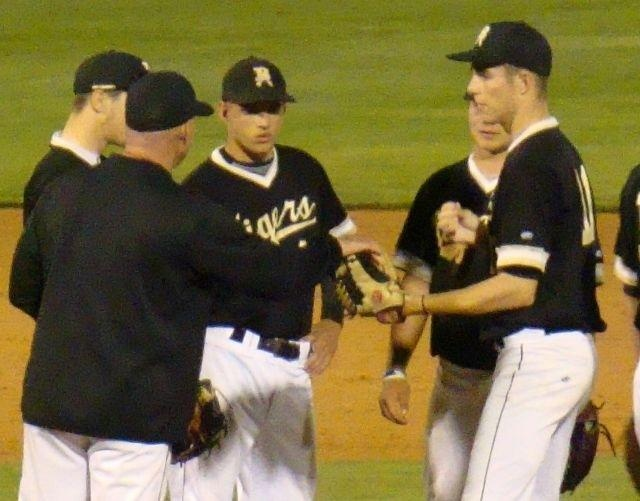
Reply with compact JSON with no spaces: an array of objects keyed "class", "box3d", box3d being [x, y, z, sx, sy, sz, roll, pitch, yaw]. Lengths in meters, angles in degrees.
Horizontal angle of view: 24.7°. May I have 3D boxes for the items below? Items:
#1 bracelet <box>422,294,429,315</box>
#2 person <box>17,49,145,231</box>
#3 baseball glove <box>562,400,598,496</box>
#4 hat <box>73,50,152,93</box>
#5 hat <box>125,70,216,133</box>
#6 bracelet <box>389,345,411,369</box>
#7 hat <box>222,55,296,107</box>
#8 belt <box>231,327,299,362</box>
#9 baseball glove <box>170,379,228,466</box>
[{"class":"bracelet","box3d":[0.742,0.419,10.592,0.045,0.111,0.088,-1,11,7]},{"class":"person","box3d":[-1.744,-0.858,11.054,0.893,1.247,1.641,8,9,1]},{"class":"baseball glove","box3d":[1.911,1.459,10.641,0.156,0.592,0.398,15,-6,30]},{"class":"hat","box3d":[-1.557,-1.320,10.809,0.459,0.242,0.360,-24,8,39]},{"class":"hat","box3d":[-1.068,-0.992,10.161,0.550,0.258,0.369,-18,33,-23]},{"class":"bracelet","box3d":[0.602,0.838,11.220,0.121,0.167,0.105,23,21,2]},{"class":"hat","box3d":[-0.529,-1.283,10.995,0.381,0.244,0.451,-7,11,-26]},{"class":"belt","box3d":[-0.350,0.730,10.832,0.662,0.175,0.171,14,7,-11]},{"class":"baseball glove","box3d":[-0.843,1.294,10.612,0.222,0.539,0.424,8,-7,-9]}]
